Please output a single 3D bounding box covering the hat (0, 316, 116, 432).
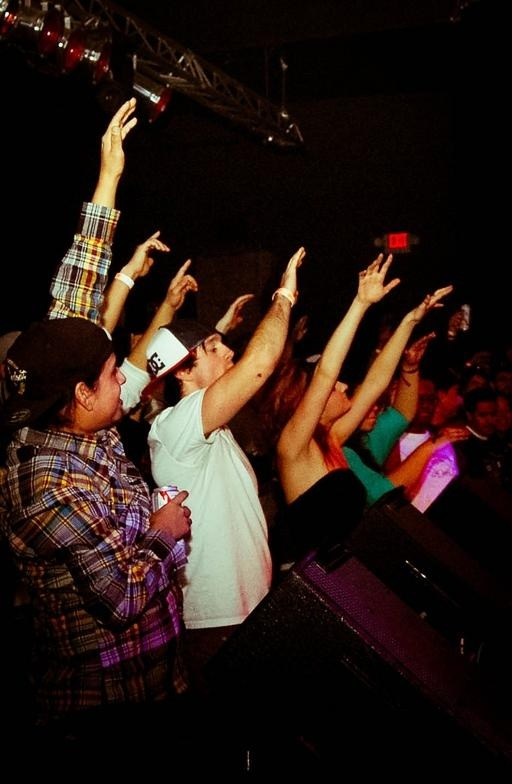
[{"bbox_3d":[-0.424,-0.029,1.330,0.211,0.242,0.160,14,25,-19],"label":"hat"}]
